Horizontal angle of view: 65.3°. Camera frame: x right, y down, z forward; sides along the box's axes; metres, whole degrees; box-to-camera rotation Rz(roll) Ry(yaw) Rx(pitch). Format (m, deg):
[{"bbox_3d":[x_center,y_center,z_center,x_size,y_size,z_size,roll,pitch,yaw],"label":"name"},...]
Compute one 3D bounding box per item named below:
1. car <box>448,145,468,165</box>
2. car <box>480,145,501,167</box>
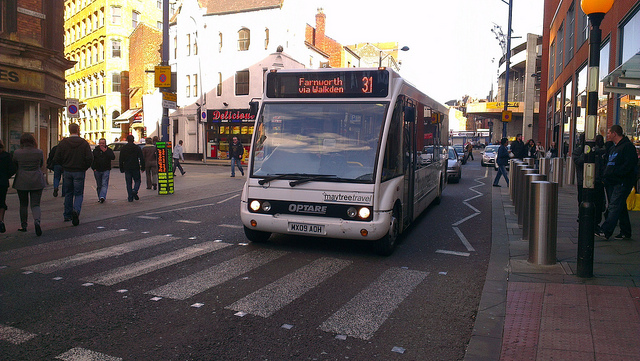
[{"bbox_3d":[10.933,-2.050,39.733,1.615,1.326,3.344,0,0,19],"label":"car"},{"bbox_3d":[12.577,-1.884,36.890,1.749,1.350,3.285,0,0,20],"label":"car"}]
